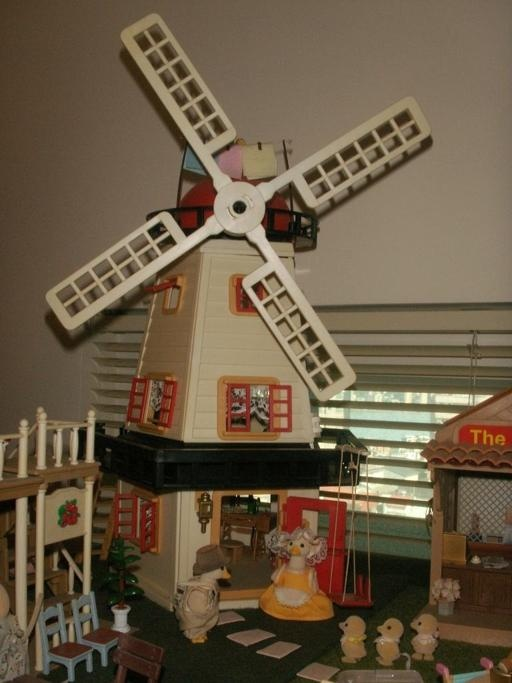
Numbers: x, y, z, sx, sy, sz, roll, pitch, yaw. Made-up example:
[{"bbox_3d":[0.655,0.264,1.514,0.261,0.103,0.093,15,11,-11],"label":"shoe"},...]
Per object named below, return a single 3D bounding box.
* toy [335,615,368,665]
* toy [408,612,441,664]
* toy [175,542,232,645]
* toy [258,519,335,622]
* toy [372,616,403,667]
[{"bbox_3d":[0.577,1.760,3.700,0.156,0.265,0.232,-1,0,8],"label":"toy"},{"bbox_3d":[1.007,1.752,3.702,0.155,0.274,0.207,-1,0,13],"label":"toy"},{"bbox_3d":[-0.376,1.653,4.094,0.323,0.530,0.400,-1,0,34],"label":"toy"},{"bbox_3d":[0.317,1.625,4.385,0.570,0.561,0.416,-3,-4,32],"label":"toy"},{"bbox_3d":[0.778,1.738,3.594,0.181,0.245,0.146,12,-10,10],"label":"toy"}]
